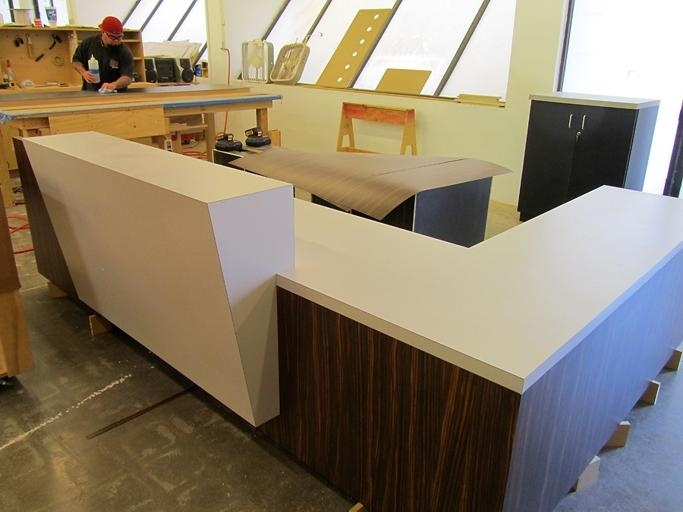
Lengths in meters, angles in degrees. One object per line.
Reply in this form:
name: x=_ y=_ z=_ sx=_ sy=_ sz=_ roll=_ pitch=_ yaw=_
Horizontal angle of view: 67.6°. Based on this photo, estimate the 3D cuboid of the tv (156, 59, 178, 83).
tv: x=-2.436 y=-2.579 z=7.102 sx=0.283 sy=0.304 sz=0.126 roll=-5 pitch=24 yaw=-21

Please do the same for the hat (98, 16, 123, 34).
hat: x=-2.154 y=-2.157 z=4.726 sx=0.185 sy=0.096 sz=0.253 roll=-15 pitch=42 yaw=-31

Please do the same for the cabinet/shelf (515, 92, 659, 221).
cabinet/shelf: x=1.727 y=-0.711 z=3.515 sx=0.549 sy=1.019 sz=0.754 roll=-21 pitch=35 yaw=-35

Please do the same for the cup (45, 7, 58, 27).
cup: x=-3.470 y=-2.856 z=6.107 sx=0.096 sy=0.194 sz=0.127 roll=-5 pitch=24 yaw=-21

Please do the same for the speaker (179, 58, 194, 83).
speaker: x=-2.175 y=-2.601 z=7.180 sx=0.181 sy=0.312 sz=0.136 roll=-2 pitch=23 yaw=-14

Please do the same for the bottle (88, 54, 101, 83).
bottle: x=-2.360 y=-1.776 z=4.874 sx=0.097 sy=0.248 sz=0.201 roll=-7 pitch=25 yaw=-24
